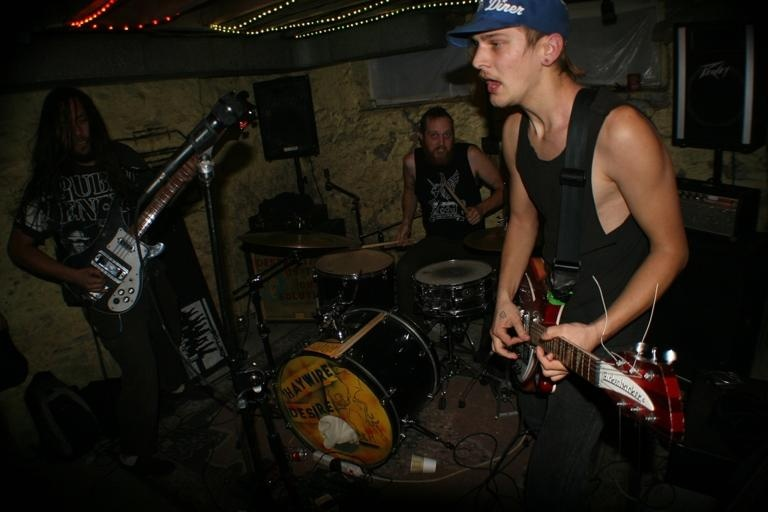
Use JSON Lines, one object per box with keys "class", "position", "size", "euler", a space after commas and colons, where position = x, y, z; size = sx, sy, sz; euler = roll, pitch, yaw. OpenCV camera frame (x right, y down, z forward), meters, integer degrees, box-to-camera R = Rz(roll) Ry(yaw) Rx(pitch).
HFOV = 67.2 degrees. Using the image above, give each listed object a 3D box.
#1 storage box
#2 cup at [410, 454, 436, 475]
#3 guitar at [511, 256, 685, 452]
{"class": "storage box", "position": [-1.033, 0.246, 6.623], "size": [1.298, 1.175, 1.171], "euler": [0, 8, 4]}
{"class": "cup", "position": [0.330, 1.778, 4.950], "size": [0.232, 0.151, 0.163], "euler": [0, 30, 1]}
{"class": "guitar", "position": [1.273, 0.645, 3.656], "size": [0.258, 0.742, 1.525], "euler": [3, 9, -15]}
